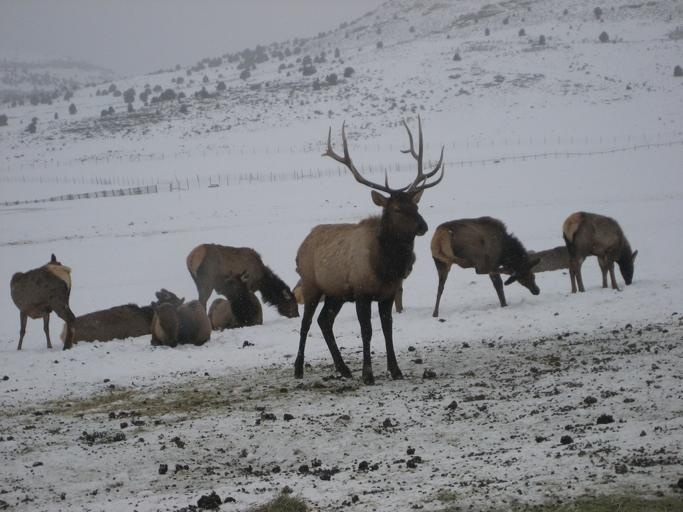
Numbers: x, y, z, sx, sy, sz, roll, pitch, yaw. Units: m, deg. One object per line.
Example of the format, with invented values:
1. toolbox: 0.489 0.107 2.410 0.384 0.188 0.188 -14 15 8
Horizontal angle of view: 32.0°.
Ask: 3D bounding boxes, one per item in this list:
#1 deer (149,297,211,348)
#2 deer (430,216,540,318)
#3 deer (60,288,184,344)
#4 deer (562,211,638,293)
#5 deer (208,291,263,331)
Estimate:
1. deer: -6.816 2.858 50.501 2.427 1.609 0.525 -4 2 -13
2. deer: 5.876 0.293 53.946 3.697 4.886 3.946 -8 7 -14
3. deer: -9.577 3.532 51.539 4.274 2.661 4.130 1 8 33
4. deer: 11.309 -0.248 52.505 2.919 3.436 1.086 -4 2 -17
5. deer: -4.746 2.406 52.976 2.305 1.258 1.494 -4 2 -12
